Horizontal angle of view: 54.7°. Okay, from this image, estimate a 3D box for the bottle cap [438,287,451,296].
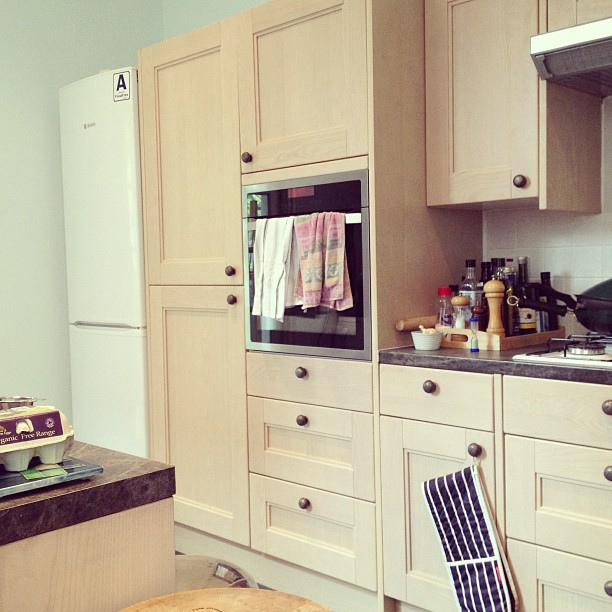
[{"bbox_3d":[0.480,-0.051,2.058,0.035,0.018,0.033,2,-1,-22],"label":"bottle cap"}]

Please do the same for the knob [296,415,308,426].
[{"bbox_3d":[-0.015,0.407,2.115,0.037,0.035,0.037,1,-2,40],"label":"knob"}]

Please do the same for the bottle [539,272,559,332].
[{"bbox_3d":[0.856,-0.013,2.085,0.064,0.210,0.242,-2,3,22],"label":"bottle"}]

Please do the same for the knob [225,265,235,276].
[{"bbox_3d":[-0.295,-0.136,2.287,0.036,0.031,0.026,5,-10,3],"label":"knob"}]

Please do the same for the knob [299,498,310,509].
[{"bbox_3d":[-0.007,0.704,2.108,0.030,0.035,0.016,10,6,26],"label":"knob"}]

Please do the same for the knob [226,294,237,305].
[{"bbox_3d":[-0.291,-0.025,2.316,0.043,0.043,0.026,0,4,40],"label":"knob"}]

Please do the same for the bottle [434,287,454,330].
[{"bbox_3d":[0.486,0.007,2.089,0.065,0.141,0.167,-2,3,12],"label":"bottle"}]

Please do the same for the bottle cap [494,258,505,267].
[{"bbox_3d":[0.676,-0.152,2.065,0.029,0.034,0.040,3,1,36],"label":"bottle cap"}]

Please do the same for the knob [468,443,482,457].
[{"bbox_3d":[0.484,0.415,1.696,0.031,0.041,0.023,-4,4,-28],"label":"knob"}]

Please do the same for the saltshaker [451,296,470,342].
[{"bbox_3d":[0.524,0.043,2.014,0.056,0.151,0.057,-2,3,13],"label":"saltshaker"}]

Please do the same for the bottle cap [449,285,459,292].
[{"bbox_3d":[0.534,-0.064,2.137,0.043,0.020,0.028,-2,4,7],"label":"bottle cap"}]

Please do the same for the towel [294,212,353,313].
[{"bbox_3d":[0.054,-0.150,2.023,0.206,0.337,0.081,-2,3,14],"label":"towel"}]

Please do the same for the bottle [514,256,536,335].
[{"bbox_3d":[0.773,-0.039,2.090,0.065,0.266,0.235,-2,3,21],"label":"bottle"}]

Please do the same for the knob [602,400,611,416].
[{"bbox_3d":[0.726,0.245,1.429,0.015,0.037,0.030,-3,3,1],"label":"knob"}]

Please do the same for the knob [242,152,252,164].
[{"bbox_3d":[-0.223,-0.559,2.223,0.036,0.035,0.035,6,15,16],"label":"knob"}]

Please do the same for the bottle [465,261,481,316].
[{"bbox_3d":[0.576,-0.063,2.048,0.051,0.186,0.132,-2,3,15],"label":"bottle"}]

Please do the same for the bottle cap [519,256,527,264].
[{"bbox_3d":[0.784,-0.168,2.147,0.032,0.025,0.030,1,1,8],"label":"bottle cap"}]

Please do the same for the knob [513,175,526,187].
[{"bbox_3d":[0.666,-0.392,1.848,0.037,0.032,0.031,4,2,41],"label":"knob"}]

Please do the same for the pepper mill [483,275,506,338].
[{"bbox_3d":[0.627,0.008,1.965,0.068,0.188,0.107,-2,3,17],"label":"pepper mill"}]

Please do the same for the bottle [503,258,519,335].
[{"bbox_3d":[0.725,-0.035,2.097,0.046,0.262,0.166,-2,3,19],"label":"bottle"}]

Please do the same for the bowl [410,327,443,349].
[{"bbox_3d":[0.393,0.106,1.936,0.092,0.069,0.084,-2,3,0],"label":"bowl"}]

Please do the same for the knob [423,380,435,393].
[{"bbox_3d":[0.373,0.245,1.780,0.031,0.037,0.035,0,4,38],"label":"knob"}]

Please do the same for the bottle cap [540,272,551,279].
[{"bbox_3d":[0.859,-0.112,2.129,0.030,0.028,0.028,-3,5,-18],"label":"bottle cap"}]
